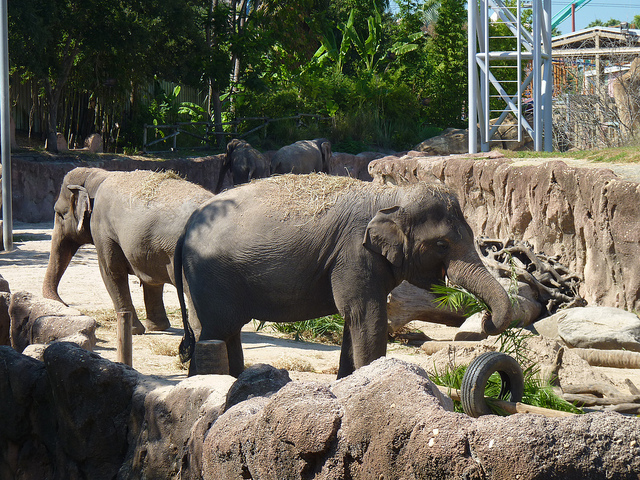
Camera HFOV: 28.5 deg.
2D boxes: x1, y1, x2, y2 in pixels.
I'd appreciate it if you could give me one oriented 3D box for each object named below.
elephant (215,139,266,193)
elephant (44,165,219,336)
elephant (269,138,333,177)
[{"bbox_3d":[-1.934,-1.664,30.081,0.766,1.387,2.170,3,14,-18],"label":"elephant"},{"bbox_3d":[-3.007,0.139,20.081,3.570,2.761,1.792,8,21,28],"label":"elephant"},{"bbox_3d":[-0.501,-2.051,30.696,0.743,0.887,2.473,-3,0,22],"label":"elephant"}]
